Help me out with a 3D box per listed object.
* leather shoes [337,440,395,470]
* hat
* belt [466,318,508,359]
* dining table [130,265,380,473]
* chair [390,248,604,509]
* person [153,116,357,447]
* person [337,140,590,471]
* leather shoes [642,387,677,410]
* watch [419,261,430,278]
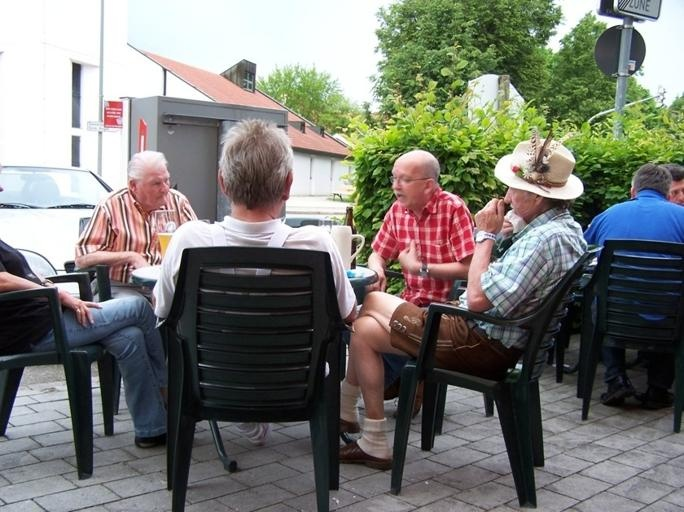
[{"bbox_3d":[0.143,1.261,3.648,0.354,0.133,0.136,10,3,16],"label":"leather shoes"},{"bbox_3d":[1.225,-0.566,3.386,0.459,0.302,0.507,34,25,26],"label":"hat"},{"bbox_3d":[0.823,0.485,3.216,0.213,0.164,0.166,24,-11,10],"label":"belt"},{"bbox_3d":[-0.577,0.584,4.050,1.430,1.451,1.336,1,9,0],"label":"dining table"},{"bbox_3d":[1.053,0.657,4.037,1.486,2.012,1.201,2,1,25],"label":"chair"},{"bbox_3d":[-0.488,0.197,3.209,1.209,1.772,0.936,-6,13,-33],"label":"person"},{"bbox_3d":[0.738,0.332,3.590,1.426,2.051,0.978,9,0,17],"label":"person"},{"bbox_3d":[2.629,1.185,4.783,0.344,0.152,0.122,-3,3,-24],"label":"leather shoes"},{"bbox_3d":[0.603,0.103,4.171,0.063,0.083,0.088,1,-4,2],"label":"watch"}]
